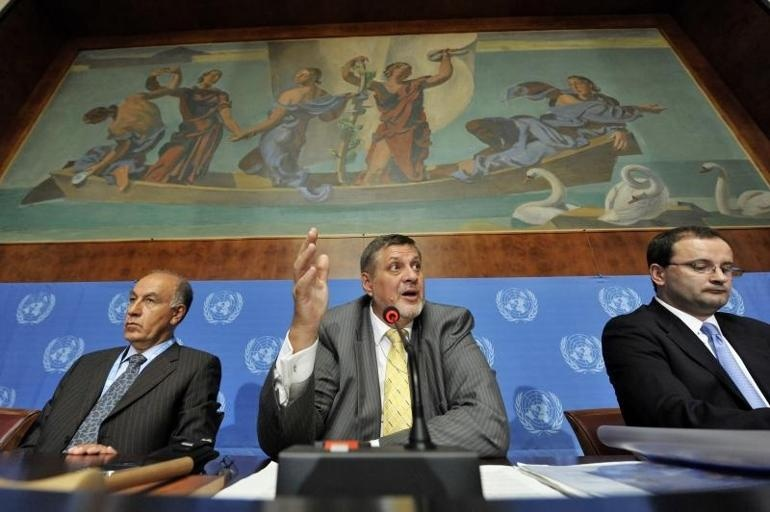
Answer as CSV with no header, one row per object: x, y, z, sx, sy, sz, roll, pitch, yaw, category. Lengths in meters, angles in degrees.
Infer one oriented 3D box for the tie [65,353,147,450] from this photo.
-1.939,1.044,4.047,0.188,0.816,0.097,24,-26,7,tie

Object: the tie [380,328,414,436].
0.067,0.813,3.741,0.193,0.762,0.091,-10,21,-15,tie
